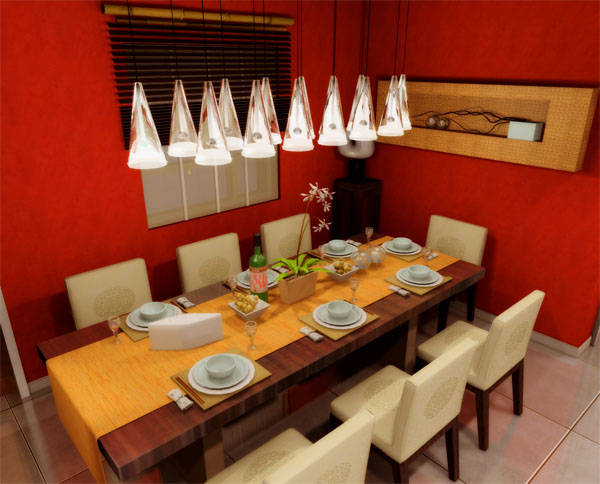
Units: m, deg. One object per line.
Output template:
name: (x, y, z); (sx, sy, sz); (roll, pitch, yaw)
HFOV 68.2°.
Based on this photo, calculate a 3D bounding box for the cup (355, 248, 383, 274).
cup: (0.531, 0.143, 3.418); (0.208, 0.104, 0.148); (-2, 27, 11)

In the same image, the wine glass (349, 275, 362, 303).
wine glass: (0.381, 0.338, 3.082); (0.089, 0.200, 0.097); (13, 25, 30)

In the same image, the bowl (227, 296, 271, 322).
bowl: (-0.302, 0.418, 2.836); (0.146, 0.070, 0.187); (16, 24, 36)

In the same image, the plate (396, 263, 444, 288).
plate: (0.881, 0.266, 3.290); (0.191, 0.055, 0.198); (15, 29, 34)

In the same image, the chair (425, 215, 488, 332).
chair: (1.456, 0.116, 4.102); (0.488, 0.756, 0.543); (23, 30, 38)

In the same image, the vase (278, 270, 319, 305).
vase: (-0.018, 0.335, 3.183); (0.133, 0.236, 0.346); (-5, -1, -23)

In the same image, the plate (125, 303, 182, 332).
plate: (-0.963, 0.473, 2.850); (0.204, 0.052, 0.213); (2, 17, 6)

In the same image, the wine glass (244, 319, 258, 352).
wine glass: (-0.288, 0.561, 2.600); (0.077, 0.216, 0.081); (12, 29, 22)

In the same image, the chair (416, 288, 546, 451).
chair: (1.300, 0.933, 3.116); (0.588, 1.078, 0.610); (-24, 33, -37)

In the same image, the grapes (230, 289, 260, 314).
grapes: (-0.363, 0.376, 2.846); (0.134, 0.080, 0.134); (21, 32, 33)

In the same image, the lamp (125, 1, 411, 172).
lamp: (-0.094, -0.687, 2.439); (1.694, 0.433, 0.369); (-15, 25, -28)

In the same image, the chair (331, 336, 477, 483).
chair: (0.667, 1.038, 2.687); (0.504, 0.912, 0.508); (-24, 38, -35)

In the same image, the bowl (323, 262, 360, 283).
bowl: (0.322, 0.221, 3.302); (0.184, 0.075, 0.150); (-18, 28, -42)

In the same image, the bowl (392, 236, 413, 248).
bowl: (0.863, 0.008, 3.782); (0.103, 0.052, 0.108); (-2, 25, 1)

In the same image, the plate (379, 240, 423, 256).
plate: (0.858, 0.053, 3.770); (0.196, 0.036, 0.204); (17, 32, 33)

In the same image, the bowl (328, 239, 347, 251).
bowl: (0.315, 0.031, 3.738); (0.100, 0.050, 0.104); (0, 26, 0)

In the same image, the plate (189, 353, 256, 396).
plate: (-0.419, 0.702, 2.382); (0.364, 0.099, 0.280); (-9, 23, -16)
